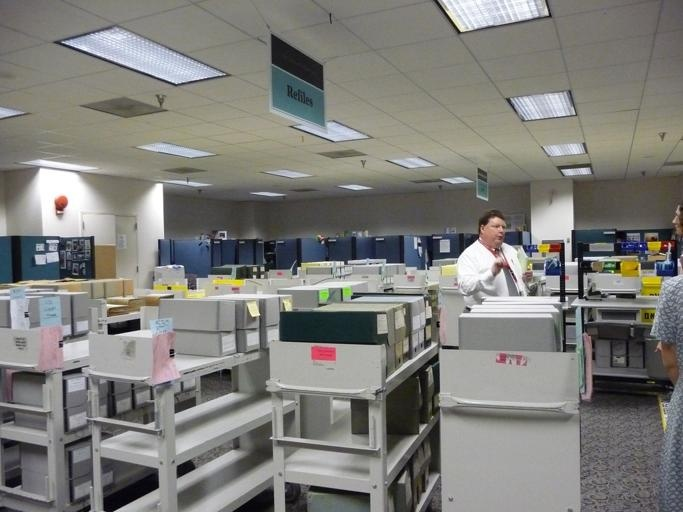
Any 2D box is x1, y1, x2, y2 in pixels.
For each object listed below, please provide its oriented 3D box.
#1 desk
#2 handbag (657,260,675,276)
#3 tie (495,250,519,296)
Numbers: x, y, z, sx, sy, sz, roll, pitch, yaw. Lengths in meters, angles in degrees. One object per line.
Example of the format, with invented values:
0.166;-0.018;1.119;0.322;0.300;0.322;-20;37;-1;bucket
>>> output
2.809;0.856;4.991;0.964;0.974;1.440;0;0;21;desk
3.715;0.133;5.840;0.163;0.110;0.171;-1;3;30;handbag
1.326;0.115;4.225;0.091;0.413;0.231;-8;-16;4;tie
